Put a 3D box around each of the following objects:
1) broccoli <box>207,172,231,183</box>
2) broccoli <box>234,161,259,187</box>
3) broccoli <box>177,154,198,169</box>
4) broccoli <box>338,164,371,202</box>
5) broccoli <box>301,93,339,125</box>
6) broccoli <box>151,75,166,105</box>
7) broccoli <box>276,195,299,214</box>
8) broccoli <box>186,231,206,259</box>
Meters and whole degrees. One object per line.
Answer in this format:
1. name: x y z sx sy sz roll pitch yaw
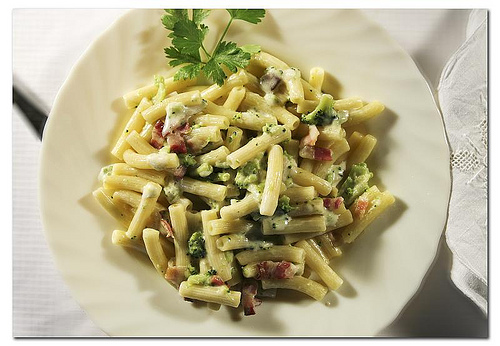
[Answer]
1. broccoli: -0.266 0.031 3.908 0.072 0.222 0.067 -9 95 -38
2. broccoli: -0.031 0.009 3.864 0.216 0.057 0.190 -6 79 28
3. broccoli: -0.540 -0.104 3.914 0.158 0.050 0.083 18 104 5
4. broccoli: 0.955 0.096 4.103 0.204 0.159 0.346 27 70 13
5. broccoli: 0.625 -0.533 3.941 0.302 0.083 0.260 -1 87 -7
6. broccoli: -0.810 -0.737 4.021 0.155 0.078 0.244 10 98 10
7. broccoli: 0.284 0.267 3.858 0.119 0.063 0.146 -7 94 18
8. broccoli: -0.454 0.623 3.927 0.201 0.077 0.202 5 93 -11
